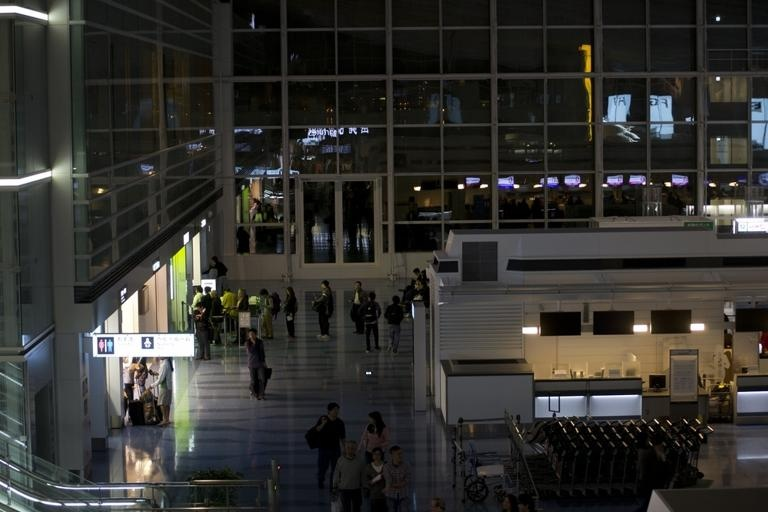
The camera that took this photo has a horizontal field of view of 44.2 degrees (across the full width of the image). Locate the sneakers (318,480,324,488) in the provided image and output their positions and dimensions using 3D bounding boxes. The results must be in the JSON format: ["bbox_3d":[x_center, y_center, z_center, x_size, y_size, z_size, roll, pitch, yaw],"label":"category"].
[{"bbox_3d":[-1.413,5.094,21.037,0.122,0.215,0.117,-1,-6,-6],"label":"sneakers"}]

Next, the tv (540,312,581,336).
[{"bbox_3d":[4.493,1.723,23.935,1.049,0.567,0.664,-1,-3,2],"label":"tv"}]

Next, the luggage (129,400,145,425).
[{"bbox_3d":[-6.313,4.009,24.074,0.394,0.641,0.168,0,-2,-9],"label":"luggage"}]

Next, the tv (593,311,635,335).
[{"bbox_3d":[5.881,1.739,24.365,1.057,0.673,0.576,0,7,3],"label":"tv"}]

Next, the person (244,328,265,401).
[{"bbox_3d":[-3.466,2.934,25.560,0.476,1.919,1.191,0,-2,-8],"label":"person"}]

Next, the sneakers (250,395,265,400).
[{"bbox_3d":[-3.480,3.878,25.732,0.401,0.173,0.135,-3,-3,22],"label":"sneakers"}]

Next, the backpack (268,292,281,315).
[{"bbox_3d":[-3.683,1.554,30.609,0.472,0.634,0.658,0,-1,-9],"label":"backpack"}]

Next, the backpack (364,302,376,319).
[{"bbox_3d":[-0.466,1.636,28.476,0.419,0.531,0.295,2,14,5],"label":"backpack"}]

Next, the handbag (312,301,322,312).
[{"bbox_3d":[-2.134,1.598,29.882,0.244,0.341,0.594,-1,-2,-8],"label":"handbag"}]

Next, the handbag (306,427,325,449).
[{"bbox_3d":[-1.548,4.014,20.848,0.452,0.447,0.406,-2,15,-11],"label":"handbag"}]

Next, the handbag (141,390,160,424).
[{"bbox_3d":[-5.996,3.906,24.143,0.402,0.987,0.716,-5,-8,-6],"label":"handbag"}]
